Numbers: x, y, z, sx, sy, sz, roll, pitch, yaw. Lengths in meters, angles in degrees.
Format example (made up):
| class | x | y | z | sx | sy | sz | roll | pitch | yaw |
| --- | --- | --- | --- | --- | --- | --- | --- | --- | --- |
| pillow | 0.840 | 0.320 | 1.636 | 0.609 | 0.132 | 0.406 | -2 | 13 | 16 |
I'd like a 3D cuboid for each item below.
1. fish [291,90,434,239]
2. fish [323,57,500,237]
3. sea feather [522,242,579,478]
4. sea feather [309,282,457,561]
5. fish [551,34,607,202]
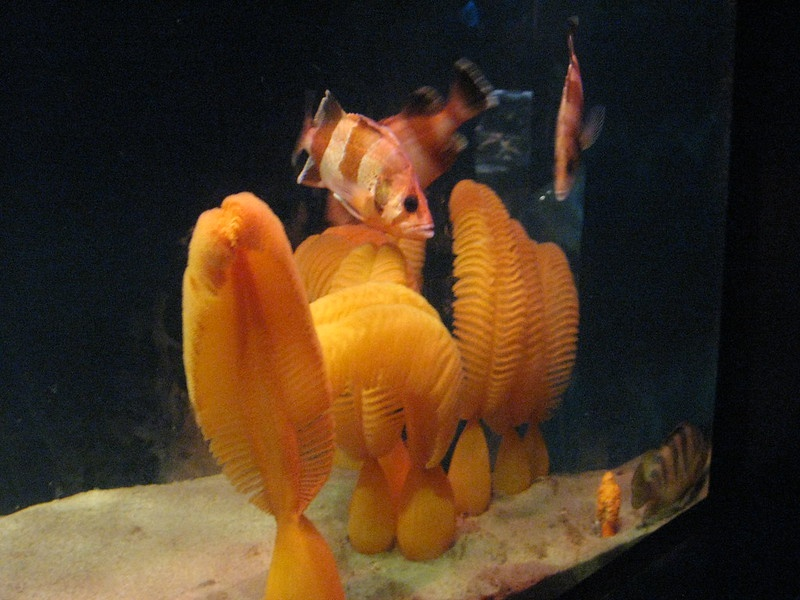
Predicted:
| class | x | y | z | sx | sy | sz | roll | pitch | yaw |
| --- | --- | --- | --- | --- | --- | --- | --- | --- | --- |
| fish | -0.117 | -0.344 | 2.391 | 0.444 | 0.269 | 0.155 | 33 | 22 | 16 |
| fish | 0.042 | -0.435 | 2.615 | 0.165 | 0.315 | 0.601 | -7 | -21 | -41 |
| sea feather | 0.467 | 0.140 | 2.822 | 0.139 | 0.818 | 0.173 | 1 | -4 | 7 |
| sea feather | 0.003 | 0.381 | 2.531 | 0.459 | 0.683 | 0.341 | -4 | -2 | 39 |
| fish | 0.529 | -0.567 | 2.781 | 0.126 | 0.514 | 0.180 | 8 | 13 | 20 |
